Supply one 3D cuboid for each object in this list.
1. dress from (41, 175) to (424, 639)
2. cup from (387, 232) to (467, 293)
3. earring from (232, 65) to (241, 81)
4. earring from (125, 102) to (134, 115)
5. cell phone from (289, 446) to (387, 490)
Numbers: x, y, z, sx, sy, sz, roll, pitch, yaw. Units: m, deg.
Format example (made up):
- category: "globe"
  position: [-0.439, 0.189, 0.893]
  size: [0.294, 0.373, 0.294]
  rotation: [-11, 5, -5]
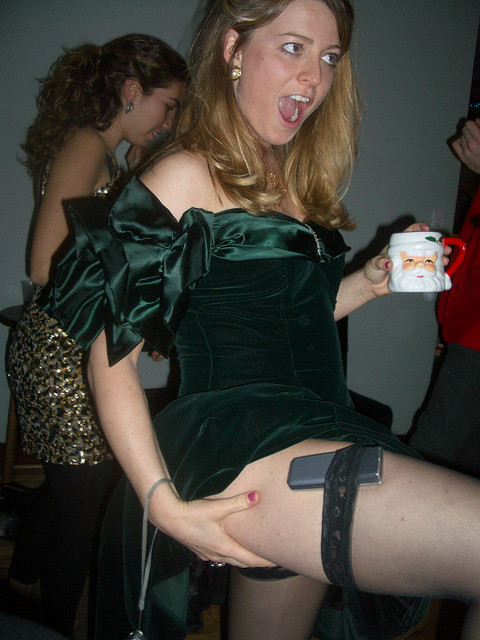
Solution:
- category: "dress"
  position: [-0.029, 0.243, 1.066]
  size: [0.596, 0.982, 0.439]
  rotation: [-3, 10, -17]
- category: "cup"
  position: [0.366, -0.111, 1.141]
  size: [0.164, 0.108, 0.102]
  rotation: [-3, 5, 10]
- category: "earring"
  position: [-0.008, -0.488, 1.138]
  size: [0.012, 0.020, 0.021]
  rotation: [5, 28, -14]
- category: "earring"
  position: [-0.324, -0.623, 1.692]
  size: [0.023, 0.030, 0.008]
  rotation: [10, -8, 20]
- category: "cell phone"
  position: [0.134, 0.205, 0.814]
  size: [0.128, 0.019, 0.063]
  rotation: [-9, 38, 23]
